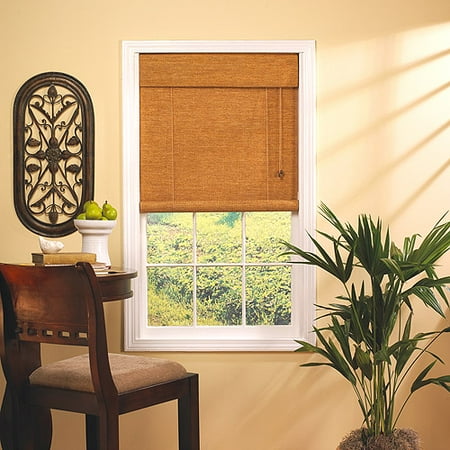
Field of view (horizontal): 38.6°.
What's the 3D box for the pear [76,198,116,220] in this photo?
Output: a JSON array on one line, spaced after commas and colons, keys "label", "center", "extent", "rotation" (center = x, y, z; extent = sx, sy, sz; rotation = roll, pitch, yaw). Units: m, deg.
[{"label": "pear", "center": [-0.595, -0.063, 3.007], "extent": [0.179, 0.094, 0.111], "rotation": [-2, 0, -7]}]
